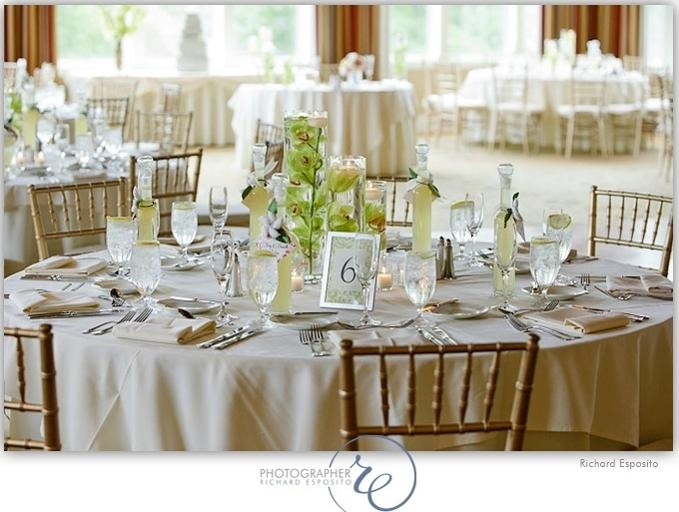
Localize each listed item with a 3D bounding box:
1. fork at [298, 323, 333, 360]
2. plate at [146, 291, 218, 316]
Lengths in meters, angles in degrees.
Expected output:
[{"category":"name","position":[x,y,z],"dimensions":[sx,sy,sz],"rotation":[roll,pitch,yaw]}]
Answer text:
[{"category":"fork","position":[-0.069,0.232,1.828],"dimensions":[0.040,0.020,0.140],"rotation":[-3,24,-7]},{"category":"plate","position":[-0.477,0.149,2.050],"dimensions":[0.125,0.026,0.101],"rotation":[9,18,11]}]
